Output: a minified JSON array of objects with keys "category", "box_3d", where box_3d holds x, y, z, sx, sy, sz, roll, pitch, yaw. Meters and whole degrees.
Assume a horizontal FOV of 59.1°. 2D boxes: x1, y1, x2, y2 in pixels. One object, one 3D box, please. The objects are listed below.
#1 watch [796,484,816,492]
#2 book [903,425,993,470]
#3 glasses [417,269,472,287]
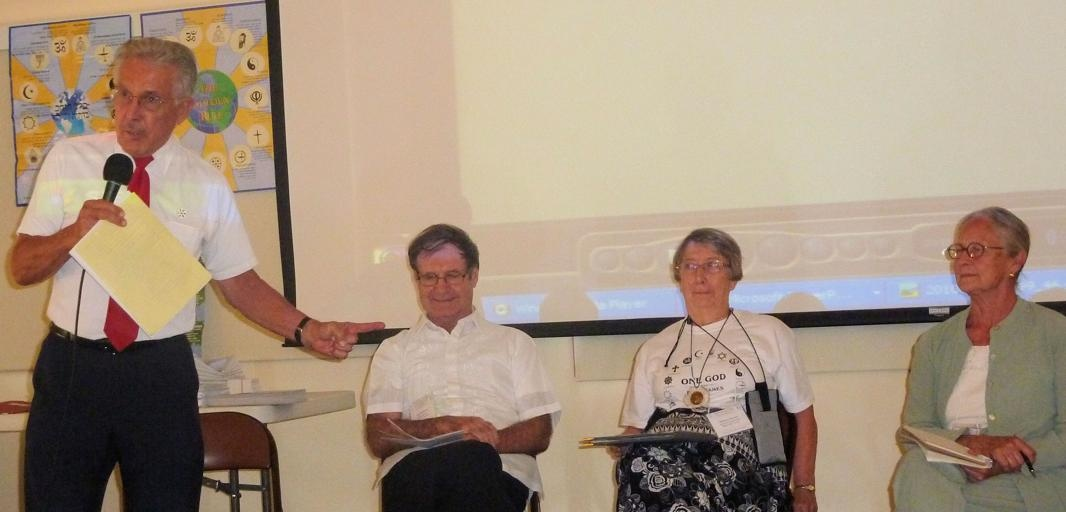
[{"category":"watch","box_3d":[1.655,1.412,5.709,0.107,0.040,0.036,2,-10,-26]},{"category":"book","box_3d":[2.356,1.110,5.364,0.358,0.083,0.239,15,-12,-21]},{"category":"glasses","box_3d":[-0.542,0.152,5.857,0.329,0.091,0.072,-2,-9,-3]}]
